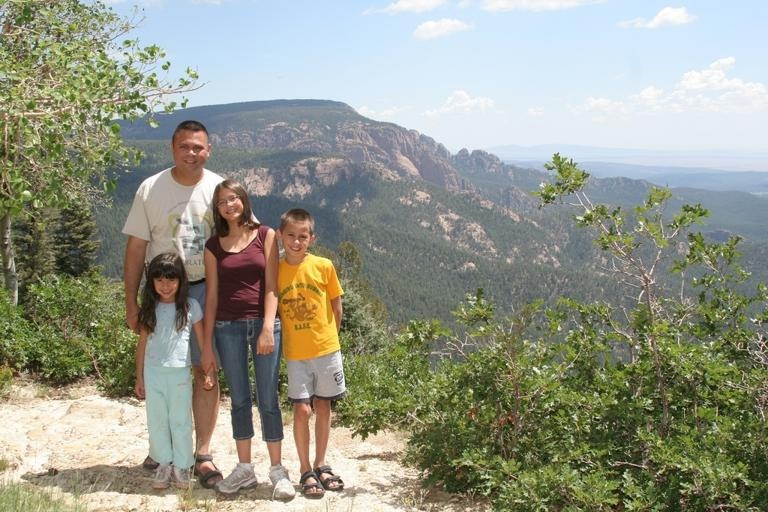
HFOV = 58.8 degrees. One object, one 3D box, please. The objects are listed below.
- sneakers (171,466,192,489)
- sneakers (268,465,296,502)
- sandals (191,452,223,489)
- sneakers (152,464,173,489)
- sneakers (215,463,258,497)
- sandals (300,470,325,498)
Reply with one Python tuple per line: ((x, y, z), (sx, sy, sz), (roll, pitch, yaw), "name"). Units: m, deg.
((-2.262, 2.476, 7.629), (0.142, 0.159, 0.388), (12, -11, -43), "sneakers")
((-1.135, 2.539, 7.631), (0.175, 0.202, 0.492), (-9, -1, -19), "sneakers")
((-2.016, 2.450, 7.811), (0.192, 0.152, 0.514), (-6, 26, -34), "sandals")
((-2.481, 2.454, 7.643), (0.124, 0.145, 0.342), (1, 42, -1), "sneakers")
((-1.627, 2.493, 7.718), (0.535, 0.291, 0.206), (-4, 10, -36), "sneakers")
((-0.804, 2.575, 7.728), (0.266, 0.287, 0.118), (7, 1, -10), "sandals")
